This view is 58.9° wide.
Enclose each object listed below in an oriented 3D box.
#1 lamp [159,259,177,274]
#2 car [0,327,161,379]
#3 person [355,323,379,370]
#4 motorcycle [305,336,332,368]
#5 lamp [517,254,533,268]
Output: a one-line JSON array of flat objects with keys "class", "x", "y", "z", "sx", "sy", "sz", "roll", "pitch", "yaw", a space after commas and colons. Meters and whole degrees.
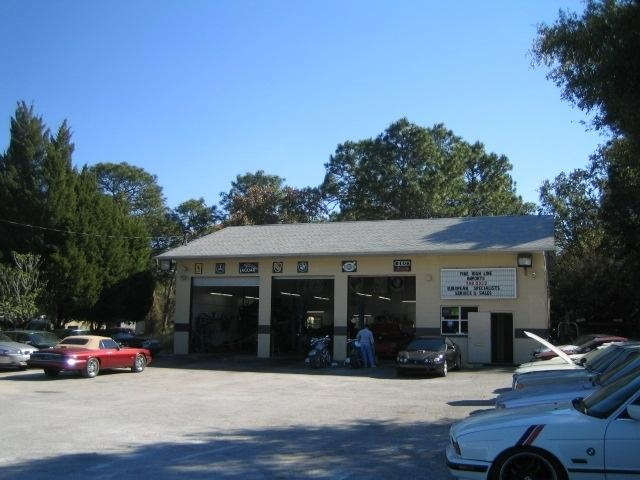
[{"class": "lamp", "x": -8.313, "y": 1.372, "z": 30.724, "sx": 0.404, "sy": 0.789, "sz": 0.795, "roll": -5, "pitch": -8, "yaw": 35}, {"class": "car", "x": -8.462, "y": 4.311, "z": 20.919, "sx": 1.424, "sy": 1.494, "sz": 3.886, "roll": -8, "pitch": -14, "yaw": 34}, {"class": "person", "x": 2.021, "y": 4.683, "z": 24.847, "sx": 0.789, "sy": 1.797, "sz": 1.494, "roll": -3, "pitch": -11, "yaw": 20}, {"class": "motorcycle", "x": -0.073, "y": 4.931, "z": 24.911, "sx": 1.041, "sy": 1.338, "sz": 2.098, "roll": 0, "pitch": -12, "yaw": 0}, {"class": "lamp", "x": 9.006, "y": 0.924, "z": 25.042, "sx": 0.687, "sy": 0.758, "sz": 0.517, "roll": 1, "pitch": -5, "yaw": -9}]
